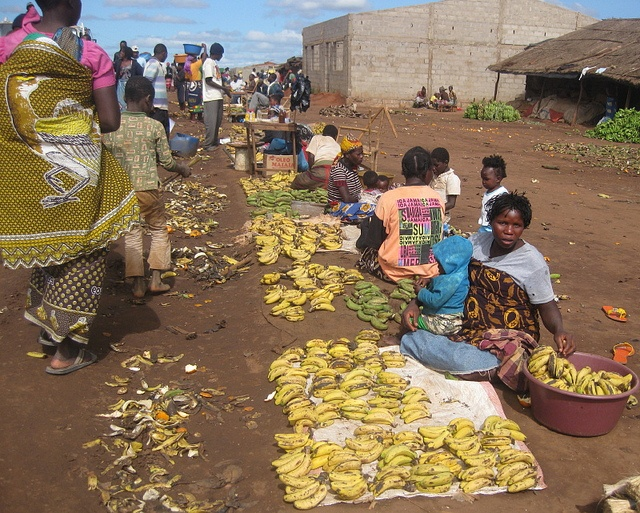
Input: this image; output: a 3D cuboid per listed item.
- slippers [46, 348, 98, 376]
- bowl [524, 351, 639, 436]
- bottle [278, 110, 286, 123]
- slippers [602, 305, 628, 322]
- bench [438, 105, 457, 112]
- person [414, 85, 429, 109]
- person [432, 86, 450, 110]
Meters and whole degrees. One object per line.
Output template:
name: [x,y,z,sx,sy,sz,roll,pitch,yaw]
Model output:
slippers: [-2.391,1.051,5.159,0.182,0.108,0.428,27,33,35]
bowl: [2.224,1.202,4.530,0.709,0.539,0.727,1,19,0]
bottle: [-0.855,-3.170,11.976,0.108,0.242,0.325,-1,19,-6]
slippers: [3.758,0.729,6.789,0.230,0.096,0.339,4,17,8]
bench: [7.618,-9.064,32.013,1.097,0.477,0.716,-5,19,-19]
person: [6.206,-9.852,32.881,0.855,1.098,0.694,6,21,12]
person: [7.364,-9.593,32.163,1.116,1.328,1.716,-1,19,-7]
